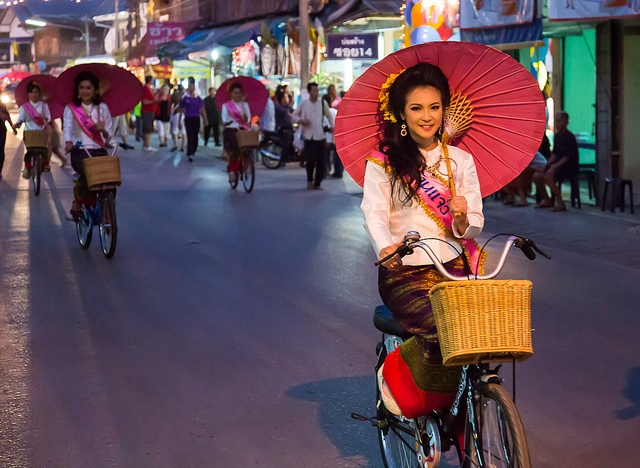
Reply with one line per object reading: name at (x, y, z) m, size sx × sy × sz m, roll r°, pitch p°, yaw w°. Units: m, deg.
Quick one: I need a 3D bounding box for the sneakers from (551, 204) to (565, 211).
sneakers at (4.618, -0.548, 12.432) m, size 0.365 × 0.147 × 0.146 m, roll -4°, pitch 11°, yaw -18°

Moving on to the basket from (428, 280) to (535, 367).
basket at (0.671, 0.347, 2.631) m, size 0.291 × 0.276 × 0.370 m, roll -1°, pitch -7°, yaw -1°

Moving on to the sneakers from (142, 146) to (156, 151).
sneakers at (-6.898, -3.491, 26.529) m, size 0.541 × 0.260 × 0.216 m, roll -1°, pitch 36°, yaw -17°

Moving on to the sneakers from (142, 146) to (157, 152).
sneakers at (-6.894, -3.478, 26.537) m, size 0.598 × 0.287 × 0.239 m, roll -1°, pitch 36°, yaw -17°

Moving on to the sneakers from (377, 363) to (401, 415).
sneakers at (0.353, 0.801, 3.378) m, size 0.080 × 0.224 × 0.182 m, roll -10°, pitch -17°, yaw 7°

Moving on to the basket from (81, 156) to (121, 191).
basket at (-2.964, -0.916, 8.901) m, size 0.511 × 0.423 × 0.394 m, roll -11°, pitch -11°, yaw -31°

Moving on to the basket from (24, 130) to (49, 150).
basket at (-6.321, -2.136, 14.571) m, size 0.446 × 0.271 × 0.361 m, roll 0°, pitch -1°, yaw -2°

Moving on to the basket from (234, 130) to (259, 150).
basket at (-1.729, -2.334, 15.832) m, size 0.540 × 0.449 × 0.345 m, roll -3°, pitch 11°, yaw -12°

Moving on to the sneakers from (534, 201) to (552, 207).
sneakers at (4.377, -0.607, 12.768) m, size 0.340 × 0.167 × 0.120 m, roll 6°, pitch 5°, yaw 13°
